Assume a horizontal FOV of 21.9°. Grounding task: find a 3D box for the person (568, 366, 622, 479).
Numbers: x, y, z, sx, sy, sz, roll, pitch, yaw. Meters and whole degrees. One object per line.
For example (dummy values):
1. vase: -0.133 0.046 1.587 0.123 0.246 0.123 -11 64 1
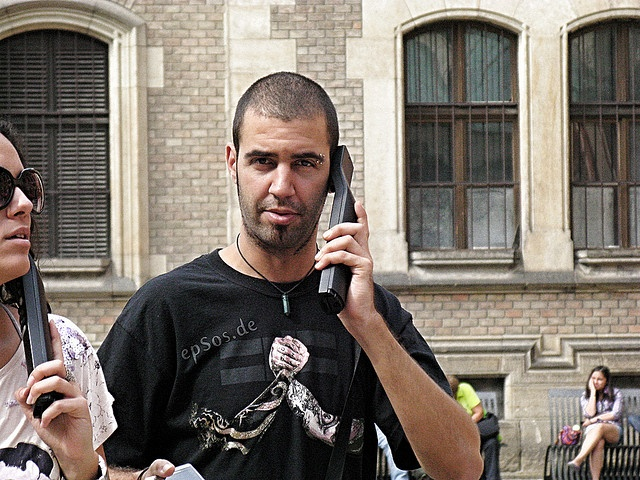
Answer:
1. person: 3.700 2.440 22.177 0.591 1.456 0.717 -3 -2 26
